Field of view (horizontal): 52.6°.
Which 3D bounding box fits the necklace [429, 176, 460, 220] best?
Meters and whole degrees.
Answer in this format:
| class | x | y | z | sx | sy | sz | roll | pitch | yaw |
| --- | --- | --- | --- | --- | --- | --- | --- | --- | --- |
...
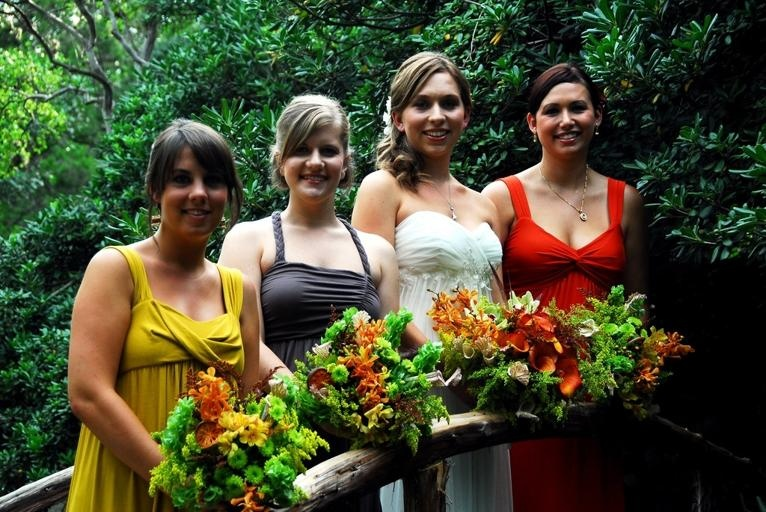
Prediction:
| class | x | y | z | sx | sy | sz | roll | pitch | yaw |
| --- | --- | --- | --- | --- | --- | --- | --- | --- | --- |
| necklace | 0.489 | -0.451 | 5.965 | 0.129 | 0.046 | 0.396 | -6 | 45 | -8 |
